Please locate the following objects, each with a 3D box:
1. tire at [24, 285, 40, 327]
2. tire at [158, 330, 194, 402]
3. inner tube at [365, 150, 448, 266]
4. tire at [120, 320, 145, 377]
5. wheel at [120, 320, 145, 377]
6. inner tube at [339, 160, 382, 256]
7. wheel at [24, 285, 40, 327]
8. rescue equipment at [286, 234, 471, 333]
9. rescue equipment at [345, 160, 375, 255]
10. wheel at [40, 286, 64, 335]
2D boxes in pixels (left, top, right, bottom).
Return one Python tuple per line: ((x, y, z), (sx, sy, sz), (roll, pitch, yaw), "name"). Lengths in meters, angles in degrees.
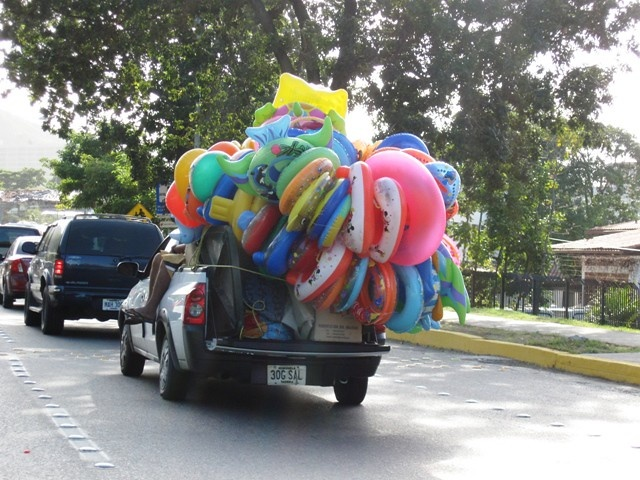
((-6.537, 1.516, 14.333), (0.245, 0.851, 0.795), (3, 11, -11), "tire")
((-1.629, 1.423, 7.120), (0.197, 0.675, 0.646), (4, 30, -12), "tire")
((0.926, -0.325, 6.079), (0.270, 0.983, 0.966), (-14, -21, -22), "inner tube")
((-2.772, 1.551, 9.247), (0.229, 0.791, 0.740), (5, 7, -27), "tire")
((-2.769, 1.552, 9.247), (0.242, 0.807, 0.756), (5, 10, -25), "wheel")
((0.409, -0.275, 6.008), (0.203, 0.748, 0.580), (-3, 19, 8), "inner tube")
((-6.537, 1.516, 14.333), (0.245, 0.851, 0.795), (3, 11, -11), "wheel")
((0.782, 0.531, 6.516), (1.110, 0.413, 1.425), (-7, -19, 44), "rescue equipment")
((0.388, -0.318, 6.003), (0.208, 0.707, 0.545), (2, -7, -3), "rescue equipment")
((-5.390, 1.422, 12.711), (0.302, 0.965, 0.902), (4, 5, -14), "wheel")
